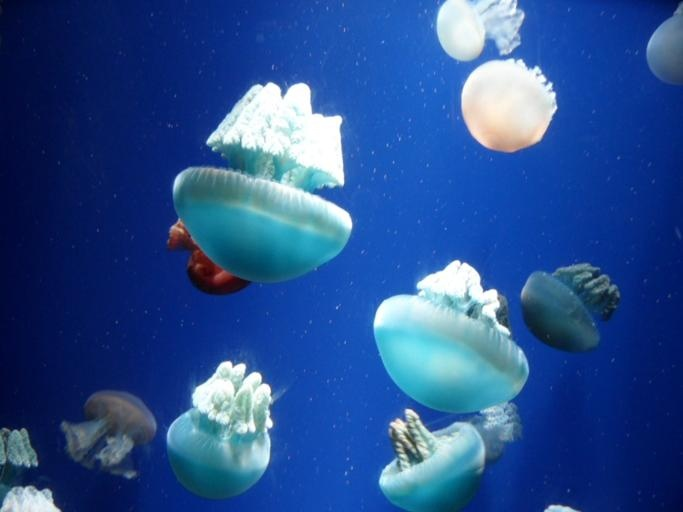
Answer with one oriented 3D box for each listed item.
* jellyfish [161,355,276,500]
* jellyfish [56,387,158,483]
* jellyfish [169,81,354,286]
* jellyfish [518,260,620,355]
[{"bbox_3d":[-0.563,0.826,3.661,0.460,0.484,0.698,20,-80,3],"label":"jellyfish"},{"bbox_3d":[-1.100,0.832,3.623,0.438,0.267,0.283,13,-44,-17],"label":"jellyfish"},{"bbox_3d":[-0.420,-0.270,3.599,0.730,0.957,0.769,18,-14,-30],"label":"jellyfish"},{"bbox_3d":[1.164,0.255,4.038,0.334,0.324,0.505,5,-33,5],"label":"jellyfish"}]
